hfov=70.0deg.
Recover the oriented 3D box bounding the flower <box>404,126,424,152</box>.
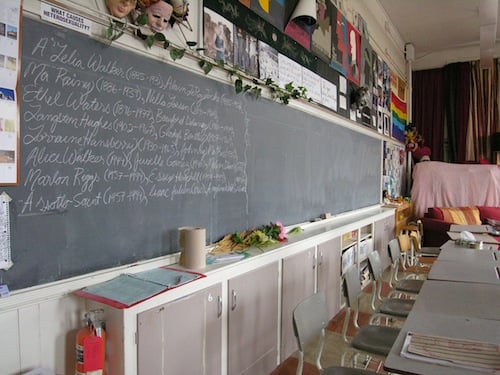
[{"bbox_3d":[3.594,-1.123,8.051,0.546,0.646,0.246,4,-6,-35],"label":"flower"}]

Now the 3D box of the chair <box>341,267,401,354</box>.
[{"bbox_3d":[0.896,0.876,2.519,0.437,0.584,0.347,0,3,35],"label":"chair"}]

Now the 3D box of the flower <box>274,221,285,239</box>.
[{"bbox_3d":[0.268,0.365,3.115,0.065,0.122,0.123,-12,42,13],"label":"flower"}]

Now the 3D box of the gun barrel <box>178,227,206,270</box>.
[{"bbox_3d":[-0.401,0.408,2.399,0.135,0.254,0.209,2,-4,-42],"label":"gun barrel"}]

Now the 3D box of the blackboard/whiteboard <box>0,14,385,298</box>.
[{"bbox_3d":[-0.401,-0.206,2.634,2.421,0.979,0.310,-2,-1,-42],"label":"blackboard/whiteboard"}]
